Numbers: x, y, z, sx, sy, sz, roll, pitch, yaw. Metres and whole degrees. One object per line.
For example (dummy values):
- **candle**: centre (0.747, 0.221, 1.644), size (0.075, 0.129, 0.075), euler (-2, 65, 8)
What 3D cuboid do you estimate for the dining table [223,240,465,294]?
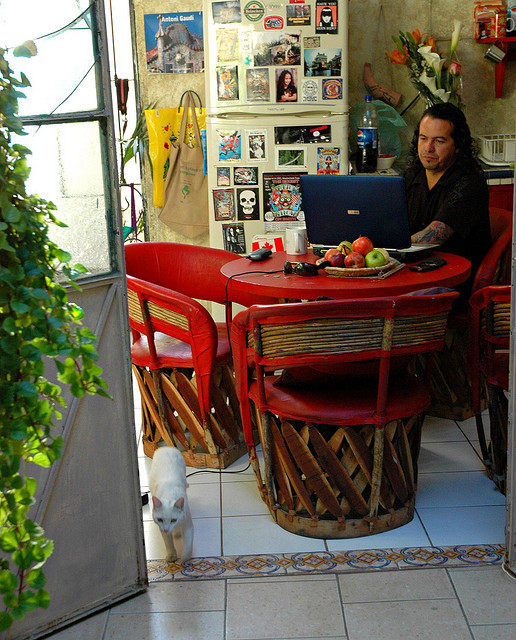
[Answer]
- **dining table**: centre (0.390, -0.262, 2.379), size (1.010, 0.204, 0.822), euler (1, 10, 21)

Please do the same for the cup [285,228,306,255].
- **cup**: centre (0.201, -0.419, 2.774), size (0.096, 0.119, 0.145), euler (0, 14, 5)

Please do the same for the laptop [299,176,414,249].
- **laptop**: centre (0.544, -0.558, 2.516), size (0.559, 0.349, 0.394), euler (7, 33, 30)

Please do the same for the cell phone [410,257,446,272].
- **cell phone**: centre (0.755, -0.243, 2.314), size (0.152, 0.021, 0.067), euler (-18, 26, -33)

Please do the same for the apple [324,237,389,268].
- **apple**: centre (0.440, -0.286, 2.316), size (0.188, 0.070, 0.193), euler (0, 6, 43)

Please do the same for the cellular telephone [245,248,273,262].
- **cellular telephone**: centre (0.006, -0.331, 2.700), size (0.135, 0.059, 0.135), euler (-3, 9, -5)

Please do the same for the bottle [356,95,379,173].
- **bottle**: centre (0.852, -1.439, 4.085), size (0.166, 0.590, 0.294), euler (0, 10, 13)

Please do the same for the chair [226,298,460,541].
- **chair**: centre (0.197, 0.239, 2.173), size (0.849, 0.896, 0.929), euler (-4, 17, -8)

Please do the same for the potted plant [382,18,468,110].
- **potted plant**: centre (1.235, -1.905, 3.882), size (0.539, 0.790, 0.917), euler (1, 10, 21)
